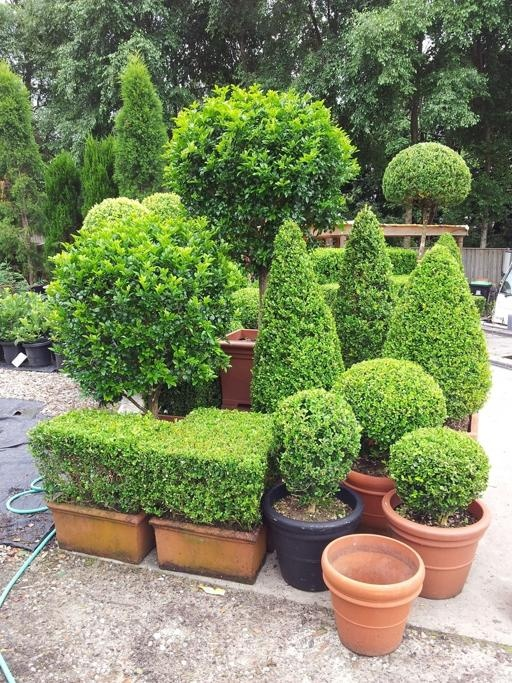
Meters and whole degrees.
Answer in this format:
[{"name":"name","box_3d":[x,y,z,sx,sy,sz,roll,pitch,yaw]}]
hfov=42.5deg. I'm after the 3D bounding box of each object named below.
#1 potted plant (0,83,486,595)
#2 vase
[{"name":"potted plant","box_3d":[-0.356,-0.365,4.979,2.372,3.159,1.607,-7,16,-33]},{"name":"vase","box_3d":[0.631,1.408,3.630,0.614,0.446,0.575,-5,13,-33]}]
